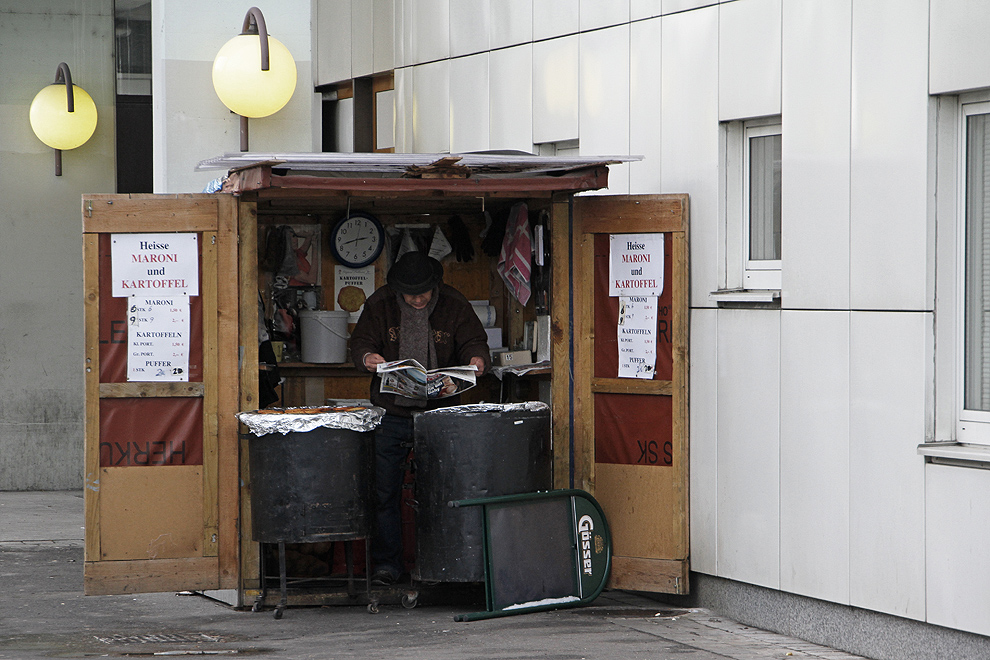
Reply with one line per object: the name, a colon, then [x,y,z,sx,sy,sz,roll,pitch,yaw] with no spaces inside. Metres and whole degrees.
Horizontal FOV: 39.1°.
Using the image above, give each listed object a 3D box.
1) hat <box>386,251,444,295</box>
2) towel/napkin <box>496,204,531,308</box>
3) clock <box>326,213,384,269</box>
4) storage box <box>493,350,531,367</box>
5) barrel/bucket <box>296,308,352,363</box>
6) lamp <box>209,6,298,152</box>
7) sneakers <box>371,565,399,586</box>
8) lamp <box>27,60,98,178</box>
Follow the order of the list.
hat: [-0.621,-0.444,10.798,0.400,0.319,0.264,-1,1,-5]
towel/napkin: [0.188,-0.633,11.567,0.146,0.832,0.567,-1,1,-23]
clock: [-1.190,-0.787,11.905,0.421,0.459,0.085,-1,1,-7]
storage box: [0.134,0.226,11.310,0.322,0.119,0.213,-1,1,2]
barrel/bucket: [-1.457,0.047,11.914,0.454,0.459,0.477,2,3,0]
lamp: [-2.062,-2.214,12.645,0.826,1.266,0.998,2,-4,-21]
sneakers: [-0.816,1.870,10.637,0.230,0.097,0.092,13,-11,-36]
lamp: [-4.573,-2.234,14.788,0.667,0.855,0.823,-1,1,12]
